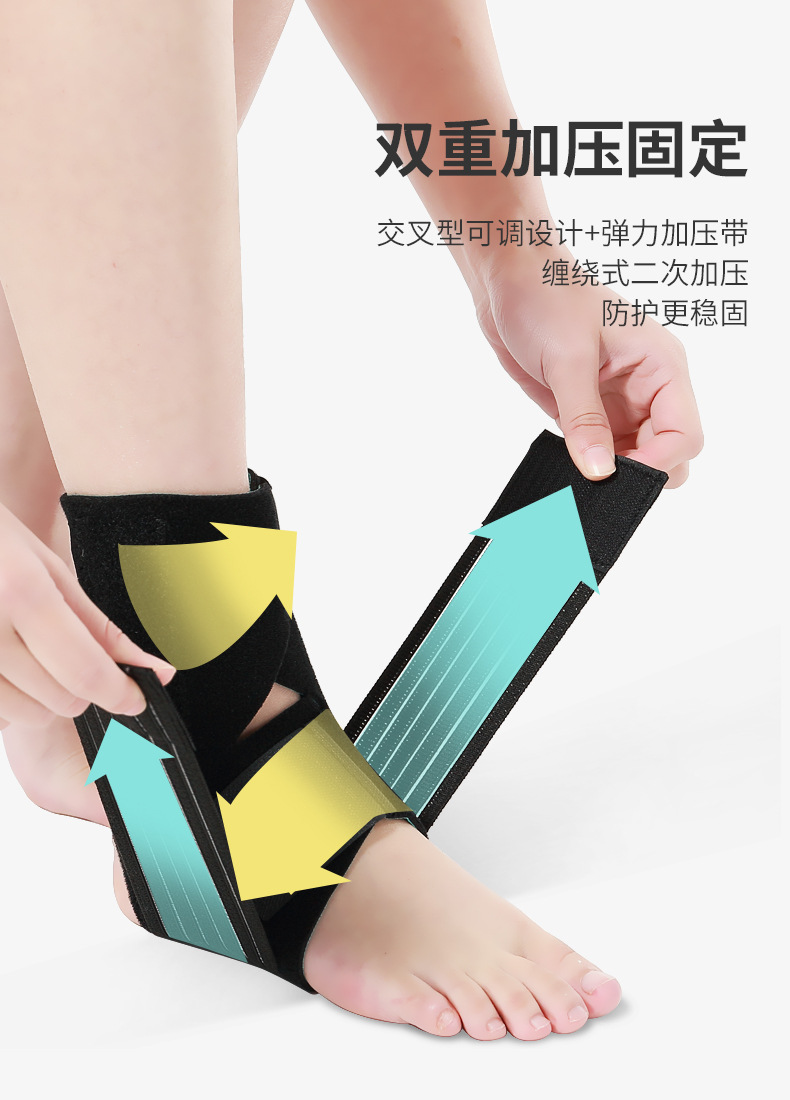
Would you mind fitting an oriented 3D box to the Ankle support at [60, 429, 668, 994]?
[{"bbox_3d":[-0.053,0.098,0.806,0.435,0.438,0.163,39,-45,-23],"label":"Ankle support"}]
